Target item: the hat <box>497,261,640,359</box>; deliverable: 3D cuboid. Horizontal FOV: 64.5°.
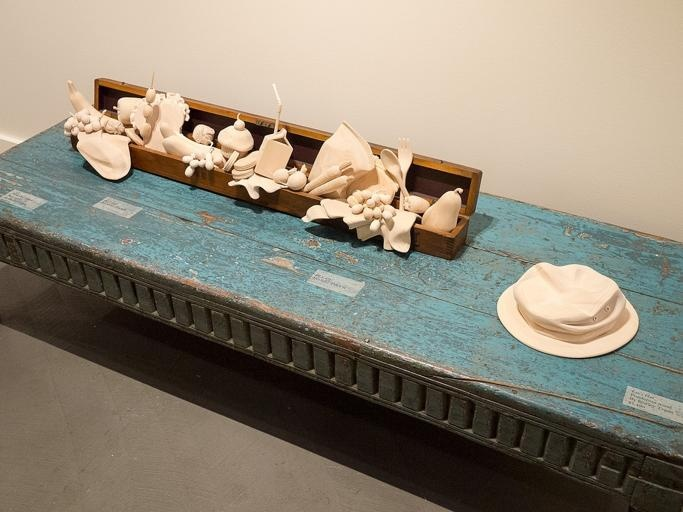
[{"bbox_3d":[0.603,0.110,1.403,0.338,0.093,0.325,-4,35,10],"label":"hat"}]
